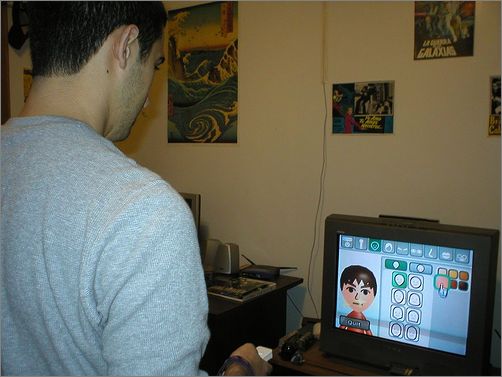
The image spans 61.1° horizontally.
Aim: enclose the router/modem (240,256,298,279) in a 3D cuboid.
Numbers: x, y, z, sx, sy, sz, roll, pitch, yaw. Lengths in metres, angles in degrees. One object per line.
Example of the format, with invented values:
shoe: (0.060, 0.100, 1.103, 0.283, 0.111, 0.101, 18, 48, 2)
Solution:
router/modem: (0.059, 0.473, 2.598, 0.184, 0.073, 0.139, 0, -2, 23)
